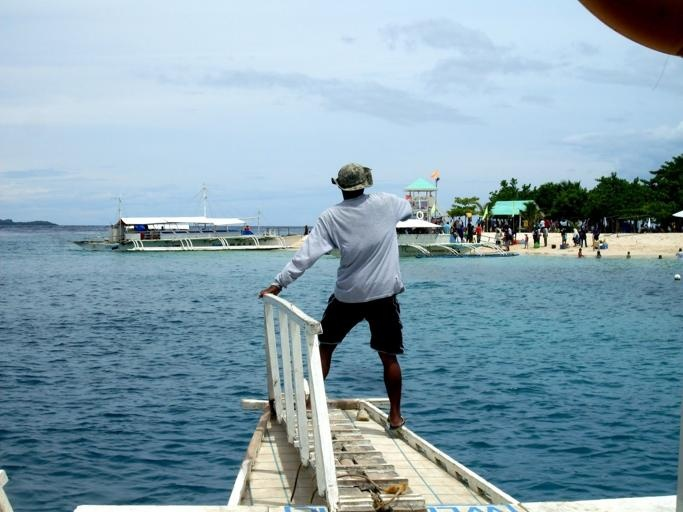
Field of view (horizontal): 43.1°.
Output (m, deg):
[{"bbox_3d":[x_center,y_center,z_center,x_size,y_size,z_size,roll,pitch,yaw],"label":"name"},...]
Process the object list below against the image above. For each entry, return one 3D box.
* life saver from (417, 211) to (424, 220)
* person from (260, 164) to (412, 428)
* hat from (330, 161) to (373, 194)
[{"bbox_3d":[6.521,-3.393,71.381,0.783,0.623,0.190,-12,20,-37],"label":"life saver"},{"bbox_3d":[0.181,0.582,11.172,1.543,3.544,0.737,-2,5,2],"label":"person"},{"bbox_3d":[0.153,-1.008,11.056,0.460,0.351,0.230,-2,5,-4],"label":"hat"}]
